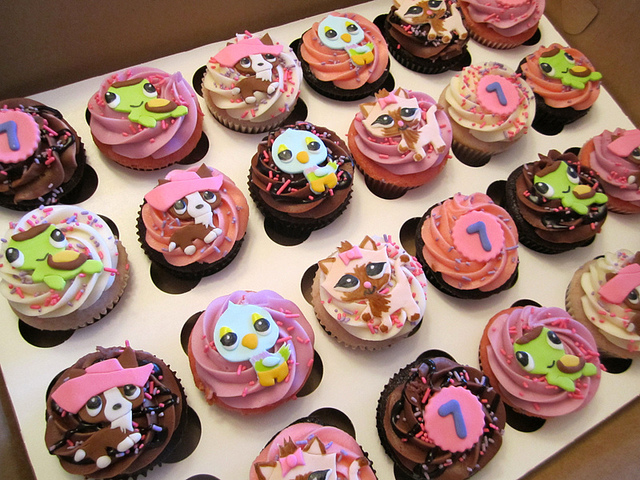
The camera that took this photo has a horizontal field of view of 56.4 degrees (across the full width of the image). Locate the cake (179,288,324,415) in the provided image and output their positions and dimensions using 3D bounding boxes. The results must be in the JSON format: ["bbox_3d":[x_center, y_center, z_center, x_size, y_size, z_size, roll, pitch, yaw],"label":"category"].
[{"bbox_3d":[-0.412,0.654,3.542,0.751,0.380,0.669,-15,67,-2],"label":"cake"}]

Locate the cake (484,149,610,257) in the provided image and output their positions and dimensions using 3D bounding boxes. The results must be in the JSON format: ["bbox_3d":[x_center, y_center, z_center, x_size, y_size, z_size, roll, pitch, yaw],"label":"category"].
[{"bbox_3d":[1.588,-0.251,4.198,0.554,0.418,0.766,-26,62,1],"label":"cake"}]

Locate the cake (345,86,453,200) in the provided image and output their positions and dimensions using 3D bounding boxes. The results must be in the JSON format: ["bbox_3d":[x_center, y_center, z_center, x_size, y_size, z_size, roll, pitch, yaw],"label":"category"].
[{"bbox_3d":[0.543,-0.645,4.144,0.700,0.432,0.599,7,68,8],"label":"cake"}]
